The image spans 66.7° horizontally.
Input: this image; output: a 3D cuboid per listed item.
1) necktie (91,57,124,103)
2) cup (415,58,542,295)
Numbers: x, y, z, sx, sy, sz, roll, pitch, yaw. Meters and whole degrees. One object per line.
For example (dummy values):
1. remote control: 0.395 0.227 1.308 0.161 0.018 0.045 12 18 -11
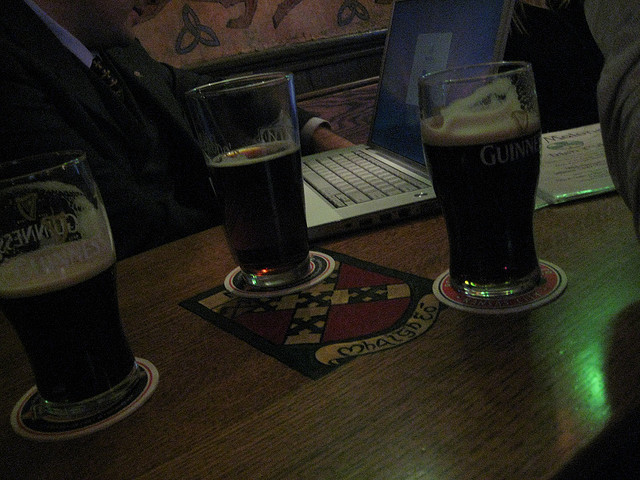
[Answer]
1. necktie: -0.606 -0.451 1.368 0.053 0.113 0.121 -26 36 -15
2. cup: 0.196 -0.075 0.580 0.134 0.239 0.185 -5 35 13
